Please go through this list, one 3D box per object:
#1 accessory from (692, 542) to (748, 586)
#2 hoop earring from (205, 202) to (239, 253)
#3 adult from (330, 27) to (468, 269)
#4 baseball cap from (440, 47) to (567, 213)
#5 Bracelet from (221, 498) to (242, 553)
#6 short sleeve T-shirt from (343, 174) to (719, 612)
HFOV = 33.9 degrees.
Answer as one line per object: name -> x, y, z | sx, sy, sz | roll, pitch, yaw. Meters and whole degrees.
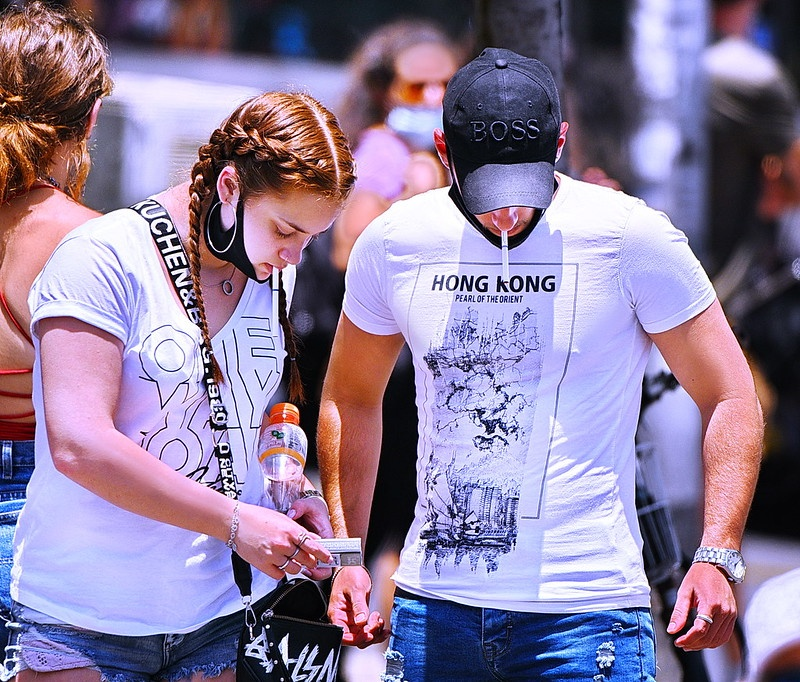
accessory -> 0.826, 0.547, 3.399 | 0.117, 0.134, 0.086 | -28, 32, 40
hoop earring -> -0.459, -0.292, 3.352 | 0.084, 0.129, 0.041 | 1, 4, 13
adult -> -0.031, -0.686, 4.884 | 0.490, 0.824, 0.431 | 11, 49, -4
baseball cap -> 0.281, -0.600, 3.515 | 0.304, 0.246, 0.541 | -2, 44, 1
Bracelet -> -0.410, 0.456, 3.253 | 0.031, 0.120, 0.057 | 2, 11, -7
short sleeve T-shirt -> 0.288, 0.094, 3.640 | 1.071, 1.229, 0.410 | 4, 14, 22
